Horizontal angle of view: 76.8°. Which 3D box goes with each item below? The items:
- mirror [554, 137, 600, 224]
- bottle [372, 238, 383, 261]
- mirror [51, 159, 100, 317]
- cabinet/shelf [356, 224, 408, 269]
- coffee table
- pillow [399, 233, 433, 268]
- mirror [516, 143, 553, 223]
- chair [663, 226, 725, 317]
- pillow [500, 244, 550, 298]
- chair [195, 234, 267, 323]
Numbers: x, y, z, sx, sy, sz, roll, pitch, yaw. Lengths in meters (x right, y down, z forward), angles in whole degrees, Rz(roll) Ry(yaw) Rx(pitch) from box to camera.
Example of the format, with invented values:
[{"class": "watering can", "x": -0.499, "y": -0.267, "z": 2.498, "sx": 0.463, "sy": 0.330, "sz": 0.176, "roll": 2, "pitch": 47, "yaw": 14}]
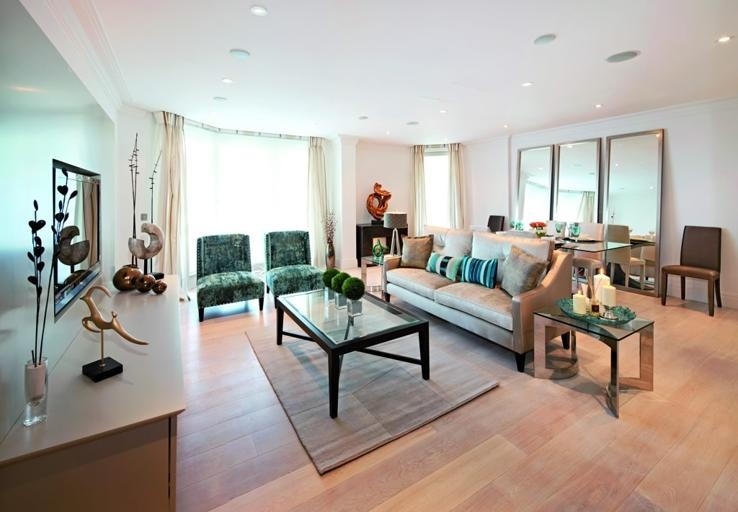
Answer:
[{"class": "mirror", "x": 3.263, "y": -1.173, "z": 7.334, "sx": 0.073, "sy": 1.240, "sz": 0.743, "roll": -7, "pitch": 10, "yaw": -37}, {"class": "bottle", "x": 0.155, "y": -0.091, "z": 6.545, "sx": 0.240, "sy": 0.340, "sz": 0.109, "roll": 2, "pitch": 9, "yaw": 34}, {"class": "mirror", "x": -2.225, "y": -0.136, "z": 3.509, "sx": 0.057, "sy": 0.883, "sz": 1.205, "roll": 0, "pitch": 6, "yaw": -16}, {"class": "cabinet/shelf", "x": 0.181, "y": -0.163, "z": 7.455, "sx": 0.729, "sy": 0.630, "sz": 0.231, "roll": -6, "pitch": 15, "yaw": -32}, {"class": "coffee table", "x": -0.102, "y": 0.585, "z": 4.293, "sx": 0.960, "sy": 0.558, "sz": 1.407, "roll": -5, "pitch": 10, "yaw": -29}, {"class": "pillow", "x": 0.622, "y": -0.053, "z": 6.125, "sx": 0.424, "sy": 0.439, "sz": 0.160, "roll": 4, "pitch": -16, "yaw": 25}, {"class": "mirror", "x": 2.790, "y": -1.188, "z": 7.918, "sx": 0.108, "sy": 1.303, "sz": 0.674, "roll": -7, "pitch": 9, "yaw": -36}, {"class": "chair", "x": 4.104, "y": 0.150, "z": 5.924, "sx": 0.732, "sy": 1.026, "sz": 0.608, "roll": -8, "pitch": 10, "yaw": -44}, {"class": "pillow", "x": 1.580, "y": 0.159, "z": 4.674, "sx": 0.202, "sy": 0.390, "sz": 0.436, "roll": -5, "pitch": 16, "yaw": -14}, {"class": "chair", "x": -1.794, "y": 0.232, "z": 5.927, "sx": 0.785, "sy": 0.965, "sz": 0.822, "roll": -4, "pitch": 8, "yaw": -22}]
